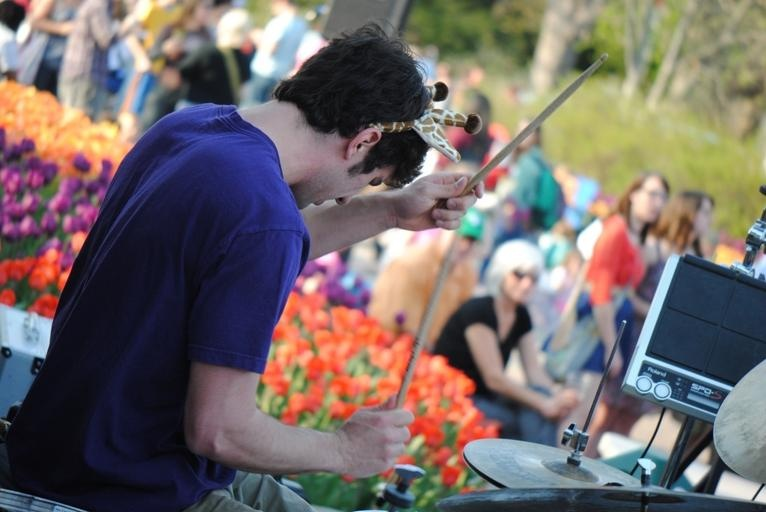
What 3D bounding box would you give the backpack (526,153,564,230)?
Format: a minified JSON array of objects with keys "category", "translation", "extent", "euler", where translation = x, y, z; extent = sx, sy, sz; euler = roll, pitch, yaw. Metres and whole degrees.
[{"category":"backpack","translation":[1.452,-0.547,11.021],"extent":[0.206,0.742,0.238],"euler":[-7,19,-22]}]
